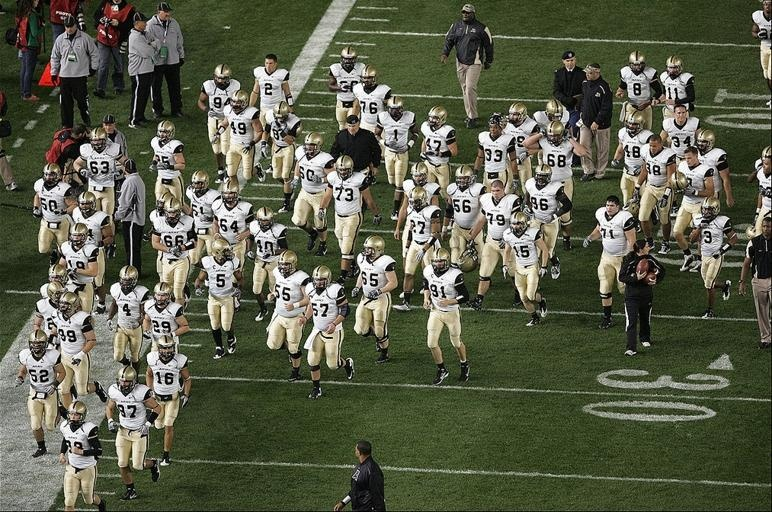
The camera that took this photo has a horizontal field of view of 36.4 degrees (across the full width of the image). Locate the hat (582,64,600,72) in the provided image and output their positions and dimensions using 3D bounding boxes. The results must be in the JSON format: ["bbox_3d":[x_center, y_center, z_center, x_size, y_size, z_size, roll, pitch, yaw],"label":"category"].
[{"bbox_3d":[3.951,-3.625,22.590,0.322,0.161,0.223,-4,14,-3],"label":"hat"}]

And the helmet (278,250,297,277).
[{"bbox_3d":[-1.531,0.116,17.982,0.278,0.367,0.266,-4,6,-8],"label":"helmet"}]

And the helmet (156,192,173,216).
[{"bbox_3d":[-3.660,-0.841,19.304,0.228,0.270,0.289,35,40,3],"label":"helmet"}]

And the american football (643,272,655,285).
[{"bbox_3d":[4.115,0.371,18.313,0.201,0.168,0.172,13,37,9],"label":"american football"}]

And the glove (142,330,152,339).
[{"bbox_3d":[-3.775,1.236,18.450,0.224,0.109,0.312,2,-8,-4],"label":"glove"}]

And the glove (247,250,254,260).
[{"bbox_3d":[-2.263,-0.003,19.829,0.139,0.139,0.339,-4,7,-18],"label":"glove"}]

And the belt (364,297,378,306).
[{"bbox_3d":[-0.263,0.710,18.323,0.128,0.124,0.171,7,23,-6],"label":"belt"}]

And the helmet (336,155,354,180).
[{"bbox_3d":[-0.673,-1.501,19.997,0.292,0.308,0.376,1,38,6],"label":"helmet"}]

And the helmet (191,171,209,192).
[{"bbox_3d":[-3.216,-1.280,19.943,0.281,0.309,0.373,4,28,5],"label":"helmet"}]

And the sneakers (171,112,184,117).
[{"bbox_3d":[-4.501,-3.021,25.205,0.231,0.091,0.089,-4,-26,7],"label":"sneakers"}]

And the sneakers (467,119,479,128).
[{"bbox_3d":[1.825,-2.781,24.711,0.166,0.181,0.271,0,-1,-1],"label":"sneakers"}]

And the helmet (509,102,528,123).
[{"bbox_3d":[2.374,-2.590,21.386,0.366,0.342,0.434,14,28,32],"label":"helmet"}]

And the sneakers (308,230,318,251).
[{"bbox_3d":[-1.353,-0.284,21.347,0.146,0.424,0.187,9,0,14],"label":"sneakers"}]

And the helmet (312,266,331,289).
[{"bbox_3d":[-0.997,0.279,17.749,0.251,0.281,0.338,3,28,14],"label":"helmet"}]

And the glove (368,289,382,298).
[{"bbox_3d":[-0.191,0.598,18.189,0.191,0.164,0.172,-4,7,-8],"label":"glove"}]

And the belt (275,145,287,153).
[{"bbox_3d":[-2.038,-2.025,22.330,0.165,0.157,0.128,7,-19,5],"label":"belt"}]

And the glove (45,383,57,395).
[{"bbox_3d":[-4.811,1.914,16.856,0.095,0.152,0.158,35,33,11],"label":"glove"}]

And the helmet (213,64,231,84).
[{"bbox_3d":[-3.181,-3.562,22.871,0.373,0.454,0.370,4,-32,-17],"label":"helmet"}]

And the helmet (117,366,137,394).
[{"bbox_3d":[-3.593,1.711,16.195,0.264,0.340,0.356,1,10,-3],"label":"helmet"}]

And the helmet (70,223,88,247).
[{"bbox_3d":[-4.982,-0.331,19.012,0.276,0.338,0.355,3,12,0],"label":"helmet"}]

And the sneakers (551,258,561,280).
[{"bbox_3d":[2.966,0.231,20.603,0.152,0.402,0.189,4,9,25],"label":"sneakers"}]

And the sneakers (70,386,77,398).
[{"bbox_3d":[-4.768,2.082,17.874,0.137,0.162,0.056,-6,-5,-40],"label":"sneakers"}]

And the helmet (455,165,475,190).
[{"bbox_3d":[1.339,-1.337,19.850,0.305,0.364,0.400,0,25,13],"label":"helmet"}]

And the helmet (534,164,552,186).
[{"bbox_3d":[2.682,-1.363,19.876,0.276,0.288,0.363,3,18,18],"label":"helmet"}]

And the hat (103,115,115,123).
[{"bbox_3d":[-5.002,-2.436,21.052,0.193,0.140,0.265,0,5,-8],"label":"hat"}]

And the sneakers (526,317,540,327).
[{"bbox_3d":[2.396,1.099,19.470,0.293,0.195,0.096,-1,52,3],"label":"sneakers"}]

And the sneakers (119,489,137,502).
[{"bbox_3d":[-3.599,3.300,16.218,0.099,0.126,0.286,0,-2,37],"label":"sneakers"}]

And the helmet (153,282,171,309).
[{"bbox_3d":[-3.396,0.595,17.718,0.267,0.351,0.357,1,4,-3],"label":"helmet"}]

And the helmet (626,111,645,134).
[{"bbox_3d":[4.518,-2.413,21.268,0.295,0.328,0.387,2,13,11],"label":"helmet"}]

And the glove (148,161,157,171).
[{"bbox_3d":[-4.270,-1.634,21.431,0.220,0.168,0.346,3,3,-13],"label":"glove"}]

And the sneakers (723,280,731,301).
[{"bbox_3d":[5.758,0.594,19.823,0.107,0.311,0.142,1,-23,26],"label":"sneakers"}]

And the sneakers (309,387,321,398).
[{"bbox_3d":[-1.095,2.091,18.022,0.203,0.171,0.242,-4,7,-4],"label":"sneakers"}]

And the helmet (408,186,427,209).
[{"bbox_3d":[0.525,-0.948,19.255,0.264,0.270,0.339,0,22,9],"label":"helmet"}]

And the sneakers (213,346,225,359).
[{"bbox_3d":[-2.698,1.562,18.858,0.122,0.155,0.266,2,7,17],"label":"sneakers"}]

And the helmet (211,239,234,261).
[{"bbox_3d":[-2.607,-0.097,18.455,0.367,0.291,0.260,6,15,18],"label":"helmet"}]

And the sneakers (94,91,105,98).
[{"bbox_3d":[-6.340,-3.558,25.801,0.248,0.104,0.104,23,-13,-36],"label":"sneakers"}]

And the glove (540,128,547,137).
[{"bbox_3d":[2.863,-2.263,21.379,0.078,0.186,0.154,5,-7,-40],"label":"glove"}]

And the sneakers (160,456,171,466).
[{"bbox_3d":[-3.163,2.930,16.721,0.197,0.133,0.088,7,23,-1],"label":"sneakers"}]

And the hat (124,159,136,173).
[{"bbox_3d":[-4.472,-1.590,20.381,0.178,0.144,0.250,-1,46,-31],"label":"hat"}]

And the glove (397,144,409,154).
[{"bbox_3d":[0.321,-2.004,22.012,0.133,0.094,0.172,-1,-20,1],"label":"glove"}]

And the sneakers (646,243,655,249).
[{"bbox_3d":[4.775,-0.182,21.134,0.129,0.154,0.371,-2,-3,7],"label":"sneakers"}]

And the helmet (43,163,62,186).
[{"bbox_3d":[-5.705,-1.381,19.977,0.277,0.311,0.352,1,10,2],"label":"helmet"}]

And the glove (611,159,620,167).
[{"bbox_3d":[4.609,-1.847,23.565,0.138,0.163,0.372,1,5,1],"label":"glove"}]

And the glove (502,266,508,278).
[{"bbox_3d":[2.029,0.275,20.040,0.061,0.195,0.200,17,0,9],"label":"glove"}]

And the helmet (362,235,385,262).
[{"bbox_3d":[-0.193,-0.169,18.241,0.387,0.368,0.300,-13,23,-23],"label":"helmet"}]

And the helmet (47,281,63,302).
[{"bbox_3d":[-4.960,0.531,17.548,0.282,0.272,0.235,9,15,5],"label":"helmet"}]

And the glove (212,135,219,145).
[{"bbox_3d":[-3.312,-2.253,22.725,0.126,0.174,0.069,23,20,-47],"label":"glove"}]

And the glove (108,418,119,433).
[{"bbox_3d":[-3.893,2.402,16.662,0.188,0.097,0.248,-14,11,-21],"label":"glove"}]

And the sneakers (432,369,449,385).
[{"bbox_3d":[0.840,1.860,18.284,0.218,0.249,0.296,-2,7,11],"label":"sneakers"}]

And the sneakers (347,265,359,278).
[{"bbox_3d":[-0.600,0.274,20.530,0.203,0.229,0.594,1,4,6],"label":"sneakers"}]

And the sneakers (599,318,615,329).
[{"bbox_3d":[3.662,1.073,19.374,0.254,0.230,0.129,-9,30,-18],"label":"sneakers"}]

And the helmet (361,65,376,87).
[{"bbox_3d":[-0.304,-3.480,22.662,0.294,0.335,0.383,5,29,12],"label":"helmet"}]

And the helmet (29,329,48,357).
[{"bbox_3d":[-4.919,1.235,16.773,0.275,0.346,0.367,0,5,-7],"label":"helmet"}]

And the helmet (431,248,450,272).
[{"bbox_3d":[0.819,0.045,17.898,0.266,0.303,0.362,-3,10,13],"label":"helmet"}]
